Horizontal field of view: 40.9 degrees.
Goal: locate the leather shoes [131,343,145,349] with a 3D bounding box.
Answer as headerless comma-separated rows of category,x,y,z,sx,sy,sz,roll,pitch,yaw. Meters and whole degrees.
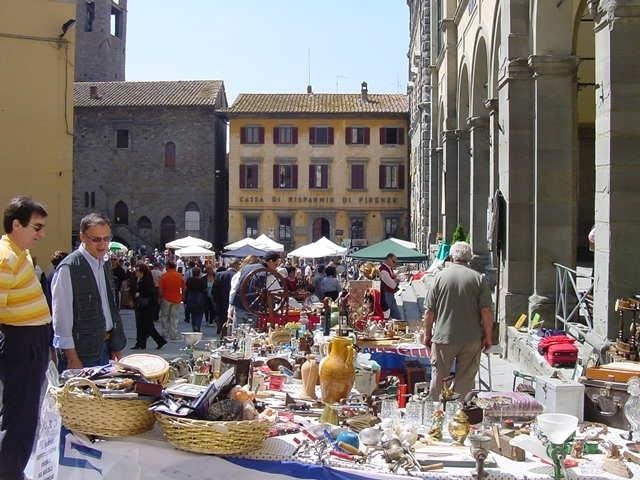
leather shoes,-3.415,1.992,16.161,0.299,0.150,0.114,1,0,14

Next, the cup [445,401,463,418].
cup,1.079,1.382,6.940,0.124,0.137,0.086,1,-2,8

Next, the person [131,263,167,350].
person,-3.481,1.405,17.506,0.839,2.230,0.727,-3,-19,2

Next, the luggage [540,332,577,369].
luggage,3.028,1.405,10.946,0.445,0.308,0.696,-1,8,-2

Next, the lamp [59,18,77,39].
lamp,-4.877,-4.117,16.543,0.254,0.374,0.149,-2,3,-38

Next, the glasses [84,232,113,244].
glasses,-2.134,-0.022,8.319,0.251,0.097,0.166,-2,3,-32

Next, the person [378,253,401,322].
person,1.313,1.088,15.811,0.435,1.678,0.490,-1,-3,-9

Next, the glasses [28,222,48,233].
glasses,-2.657,-0.117,8.055,0.109,0.066,0.111,5,-3,-40

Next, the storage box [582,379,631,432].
storage box,2.371,1.333,7.045,0.356,0.417,0.271,1,10,33

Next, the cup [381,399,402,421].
cup,0.583,1.389,6.979,0.128,0.156,0.143,1,-6,-5

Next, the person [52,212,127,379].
person,-2.258,0.498,8.407,0.728,1.512,0.454,-2,2,-33

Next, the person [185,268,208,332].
person,-2.654,1.290,18.542,0.419,1.522,0.422,1,11,-10

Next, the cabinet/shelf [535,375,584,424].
cabinet/shelf,1.994,1.357,7.168,0.226,0.384,0.463,0,0,-7

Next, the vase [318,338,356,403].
vase,0.152,1.129,7.393,0.279,0.579,0.309,9,4,22

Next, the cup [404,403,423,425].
cup,0.765,1.424,6.997,0.138,0.193,0.154,3,-4,-10

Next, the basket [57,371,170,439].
basket,-1.681,1.317,6.674,0.555,0.385,0.475,6,-5,4

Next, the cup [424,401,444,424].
cup,0.951,1.411,7.049,0.142,0.247,0.161,2,-2,10

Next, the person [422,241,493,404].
person,1.508,0.889,9.359,0.733,1.721,0.342,0,2,8

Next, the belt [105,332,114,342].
belt,-2.113,0.972,8.612,0.074,0.087,0.046,-1,-1,34

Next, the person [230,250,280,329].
person,-0.923,0.915,13.211,0.548,1.497,0.833,5,-10,-23

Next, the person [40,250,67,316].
person,-3.765,0.528,12.357,0.255,0.836,0.223,-10,-23,-3
